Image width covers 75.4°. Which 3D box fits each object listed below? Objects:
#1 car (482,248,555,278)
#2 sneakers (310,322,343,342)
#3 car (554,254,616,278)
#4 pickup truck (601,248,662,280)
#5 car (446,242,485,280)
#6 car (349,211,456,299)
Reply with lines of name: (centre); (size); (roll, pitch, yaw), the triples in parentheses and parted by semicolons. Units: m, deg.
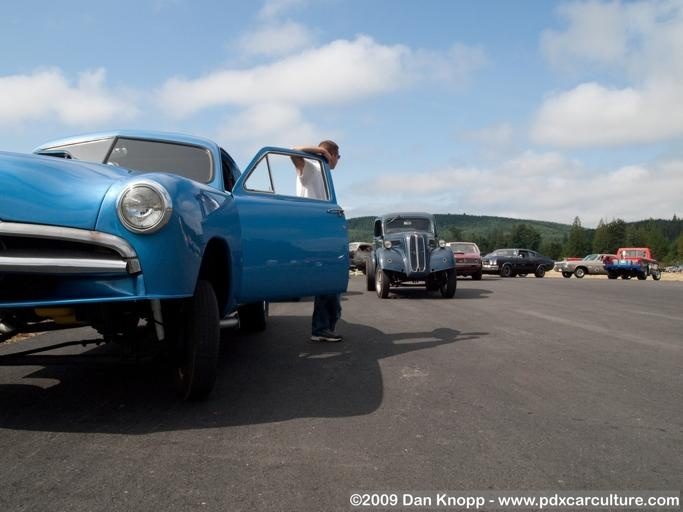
car: (12.098, 0.507, 31.065); (4.880, 1.933, 1.722); (0, 0, -25)
sneakers: (-0.220, 1.116, 6.268); (0.508, 0.218, 0.176); (-2, -3, 3)
car: (18.622, 0.812, 33.559); (3.618, 1.126, 2.052); (1, -3, -9)
pickup truck: (19.968, 0.537, 30.518); (3.082, 1.487, 4.354); (0, 0, 34)
car: (6.980, 0.206, 25.189); (2.021, 1.655, 4.048); (-1, -8, 9)
car: (2.185, -0.119, 14.397); (2.497, 2.771, 2.613); (0, 0, 2)
